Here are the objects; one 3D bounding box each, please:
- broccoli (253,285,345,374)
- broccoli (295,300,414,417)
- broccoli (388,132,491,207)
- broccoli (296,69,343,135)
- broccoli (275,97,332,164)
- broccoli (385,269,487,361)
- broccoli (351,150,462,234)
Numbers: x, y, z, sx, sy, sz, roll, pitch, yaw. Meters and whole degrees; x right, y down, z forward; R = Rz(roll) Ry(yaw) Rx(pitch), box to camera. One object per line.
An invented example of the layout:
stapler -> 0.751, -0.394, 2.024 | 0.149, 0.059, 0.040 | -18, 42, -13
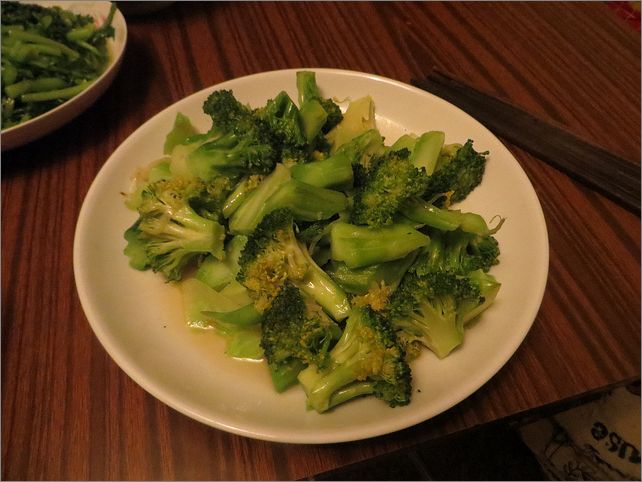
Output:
broccoli -> -0.085, 0.399, 2.321 | 0.322, 0.154, 0.369 | 4, 82, -12
broccoli -> 0.160, 0.574, 2.407 | 0.440, 0.212, 0.444 | -25, 76, -1
broccoli -> 0.734, -0.359, 2.875 | 0.271, 0.140, 0.385 | 41, 96, 2
broccoli -> 0.031, -0.796, 3.075 | 0.073, 0.181, 0.335 | -28, 70, 6
broccoli -> -0.096, -0.586, 2.809 | 0.214, 0.118, 0.344 | 26, 63, -15
broccoli -> 0.528, 0.357, 2.542 | 0.387, 0.394, 0.366 | 6, 78, -23
broccoli -> 0.313, -0.242, 2.595 | 0.440, 0.164, 0.274 | -42, 83, -4
